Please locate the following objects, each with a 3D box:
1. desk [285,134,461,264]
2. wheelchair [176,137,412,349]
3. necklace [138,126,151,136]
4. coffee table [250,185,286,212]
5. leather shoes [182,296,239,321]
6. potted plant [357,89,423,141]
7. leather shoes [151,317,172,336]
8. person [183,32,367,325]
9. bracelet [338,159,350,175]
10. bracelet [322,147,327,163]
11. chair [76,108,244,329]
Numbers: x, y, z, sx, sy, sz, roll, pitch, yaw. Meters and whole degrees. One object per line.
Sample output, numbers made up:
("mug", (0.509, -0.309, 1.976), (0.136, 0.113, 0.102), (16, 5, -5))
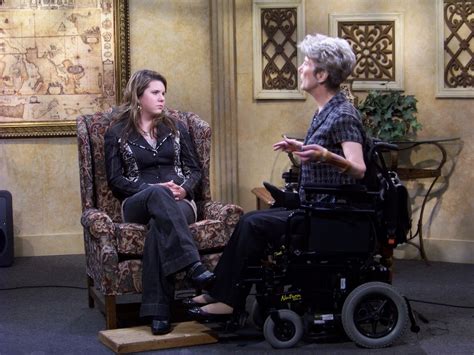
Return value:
("desk", (1.392, 0.110, 4.442), (1.229, 1.062, 1.334), (-4, 6, -17))
("wheelchair", (0.372, 0.446, 3.229), (1.369, 1.272, 0.907), (1, -1, -1))
("necklace", (-0.630, -0.328, 3.399), (0.057, 0.017, 0.058), (45, 45, 19))
("coffee table", (0.337, 0.194, 4.602), (0.430, 0.213, 0.283), (-4, -15, 3))
("leather shoes", (-0.162, 0.770, 2.806), (0.253, 0.095, 0.141), (22, -3, -10))
("potted plant", (1.436, -0.615, 4.450), (0.556, 0.399, 0.612), (8, 23, -6))
("leather shoes", (-0.430, 0.855, 2.782), (0.062, 0.063, 0.132), (0, 3, -1))
("person", (0.265, 0.028, 2.923), (1.002, 1.761, 0.834), (3, 5, 2))
("bracelet", (0.571, -0.046, 2.590), (0.050, 0.051, 0.047), (8, 10, 42))
("bracelet", (0.468, -0.125, 2.574), (0.033, 0.071, 0.044), (1, 8, 11))
("chair", (-0.564, 0.221, 3.408), (1.075, 1.558, 1.049), (-2, -3, -22))
